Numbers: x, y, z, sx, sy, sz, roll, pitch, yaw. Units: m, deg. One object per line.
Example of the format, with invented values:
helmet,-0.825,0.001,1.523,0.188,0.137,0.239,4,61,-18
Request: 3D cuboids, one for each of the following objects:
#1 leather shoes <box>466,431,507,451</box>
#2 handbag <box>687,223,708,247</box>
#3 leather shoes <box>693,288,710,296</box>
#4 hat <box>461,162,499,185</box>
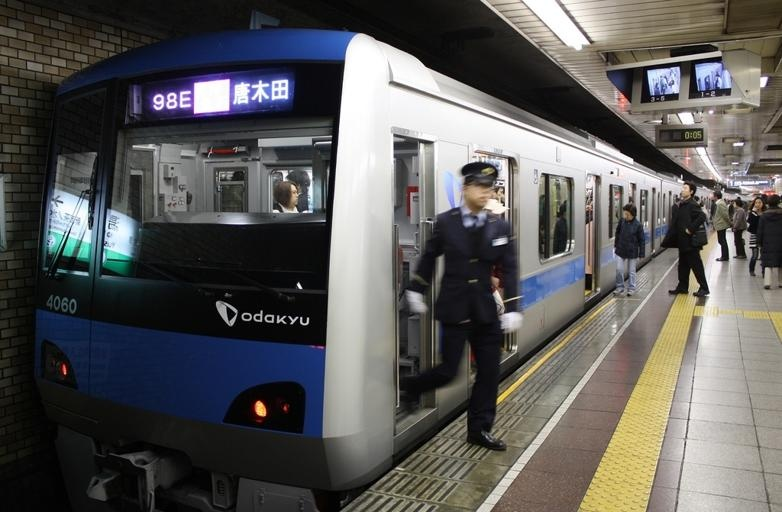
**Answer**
leather shoes,0.878,1.713,5.061,0.422,0.175,0.147,3,7,20
handbag,6.219,-0.465,10.952,0.494,0.616,0.265,0,-4,-23
leather shoes,6.573,0.748,11.387,0.387,0.180,0.130,1,-1,3
hat,0.785,-0.743,4.718,0.246,0.098,0.208,9,15,31
